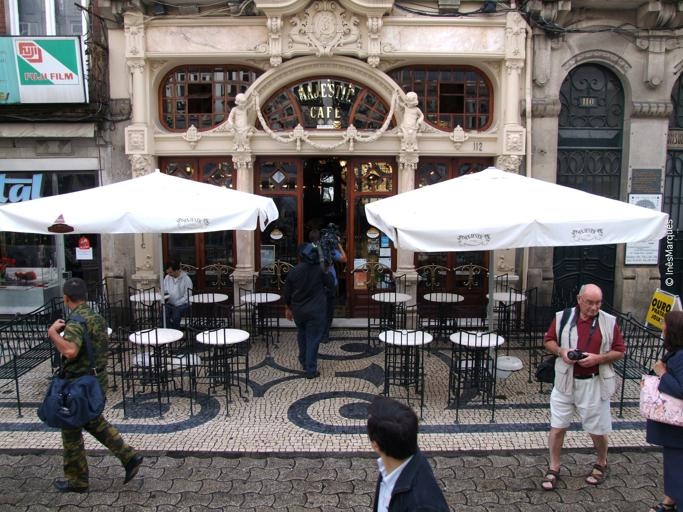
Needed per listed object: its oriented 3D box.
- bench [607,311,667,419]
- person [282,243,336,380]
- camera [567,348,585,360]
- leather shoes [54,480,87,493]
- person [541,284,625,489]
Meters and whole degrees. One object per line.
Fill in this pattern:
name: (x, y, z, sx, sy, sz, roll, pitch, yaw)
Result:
bench: (4.583, 1.728, 11.281, 0.798, 1.142, 1.960, 1, 5, 1)
person: (-0.608, 0.993, 13.105, 0.845, 2.378, 0.437, -1, 5, -5)
camera: (3.265, 1.373, 10.099, 0.201, 0.103, 0.136, 0, -8, 18)
leather shoes: (-3.841, 3.233, 10.262, 0.469, 0.153, 0.166, 10, 3, 1)
person: (3.417, 1.836, 10.276, 1.069, 2.874, 0.618, 1, 6, 14)
